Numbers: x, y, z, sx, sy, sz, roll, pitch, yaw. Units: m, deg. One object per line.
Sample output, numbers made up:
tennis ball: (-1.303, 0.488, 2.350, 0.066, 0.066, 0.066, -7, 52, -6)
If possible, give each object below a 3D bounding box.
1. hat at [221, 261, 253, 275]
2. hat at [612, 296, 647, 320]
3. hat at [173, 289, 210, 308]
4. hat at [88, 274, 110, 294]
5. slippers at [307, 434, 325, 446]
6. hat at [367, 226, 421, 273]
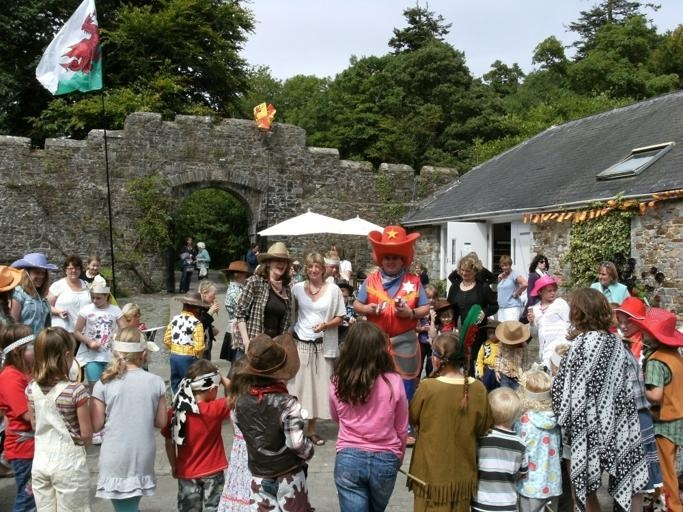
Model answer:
hat: (-2.371, 0.275, 23.837, 0.531, 0.205, 0.595, 7, -4, -3)
hat: (4.660, 0.822, 16.486, 0.414, 0.218, 0.327, 26, -11, -15)
hat: (-2.979, 0.865, 20.589, 0.642, 0.214, 0.660, 10, -6, 1)
hat: (-4.178, 0.495, 17.920, 0.247, 0.243, 0.321, -5, -20, -10)
slippers: (-0.395, 3.176, 17.914, 0.203, 0.172, 0.508, -1, 0, -20)
hat: (1.072, -0.158, 19.943, 1.025, 1.173, 0.479, 2, 14, 5)
